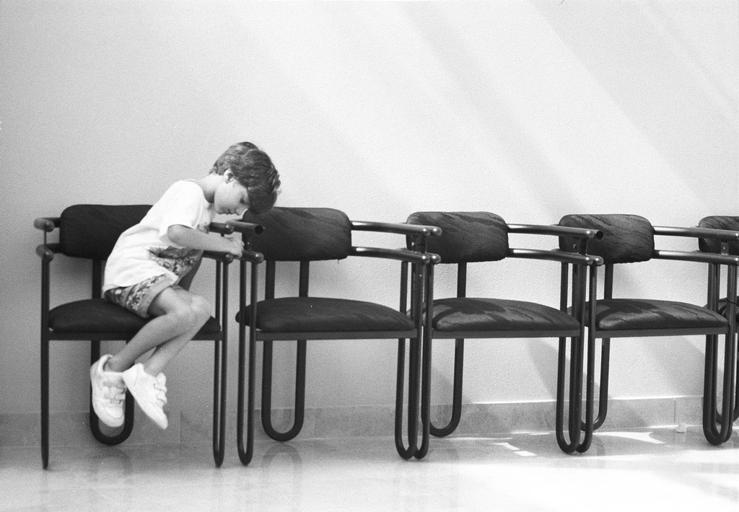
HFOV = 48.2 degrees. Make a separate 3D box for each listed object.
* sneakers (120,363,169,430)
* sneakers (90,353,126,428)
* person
[{"bbox_3d":[-0.965,0.615,3.660,0.152,0.211,0.399,7,-9,-22],"label":"sneakers"},{"bbox_3d":[-1.147,0.588,3.624,0.139,0.303,0.165,2,-10,-19],"label":"sneakers"},{"bbox_3d":[-0.840,0.108,3.754,0.752,1.286,0.651,5,-15,15],"label":"person"}]
